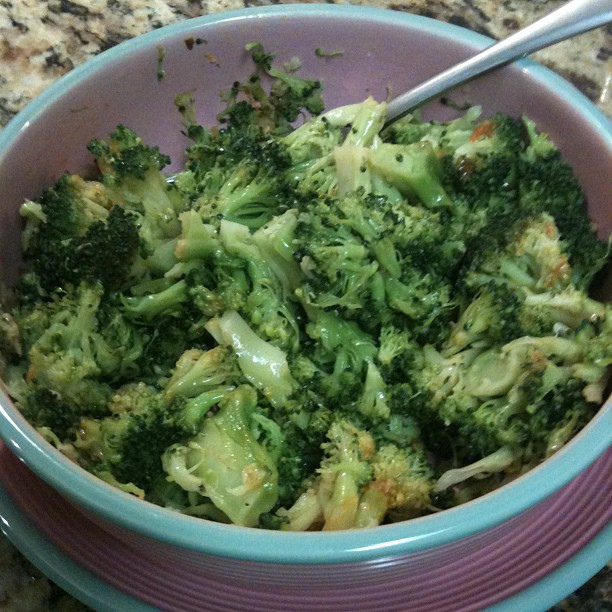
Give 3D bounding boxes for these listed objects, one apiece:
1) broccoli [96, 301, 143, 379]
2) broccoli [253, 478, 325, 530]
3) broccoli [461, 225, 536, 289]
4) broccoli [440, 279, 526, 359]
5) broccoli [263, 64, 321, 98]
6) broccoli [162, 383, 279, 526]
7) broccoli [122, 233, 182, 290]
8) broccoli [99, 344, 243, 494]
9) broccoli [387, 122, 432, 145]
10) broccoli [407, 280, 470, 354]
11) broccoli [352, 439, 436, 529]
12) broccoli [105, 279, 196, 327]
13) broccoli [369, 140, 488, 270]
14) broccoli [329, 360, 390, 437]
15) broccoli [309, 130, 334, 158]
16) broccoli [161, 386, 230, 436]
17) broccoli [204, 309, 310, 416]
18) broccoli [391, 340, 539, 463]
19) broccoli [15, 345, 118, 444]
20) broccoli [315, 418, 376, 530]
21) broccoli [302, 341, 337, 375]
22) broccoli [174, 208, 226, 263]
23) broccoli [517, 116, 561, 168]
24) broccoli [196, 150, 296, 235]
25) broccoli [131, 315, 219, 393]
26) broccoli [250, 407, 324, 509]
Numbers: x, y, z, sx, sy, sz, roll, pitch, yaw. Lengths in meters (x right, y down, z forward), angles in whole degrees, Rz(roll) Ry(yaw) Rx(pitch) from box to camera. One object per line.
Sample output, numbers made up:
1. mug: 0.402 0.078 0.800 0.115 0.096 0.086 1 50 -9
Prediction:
1. broccoli: -0.390 0.071 1.424 0.117 0.042 0.145 -11 86 -32
2. broccoli: -0.025 0.404 1.339 0.133 0.056 0.082 -29 53 -27
3. broccoli: 0.411 -0.097 1.473 0.114 0.047 0.157 -40 66 -1
4. broccoli: 0.368 0.022 1.444 0.191 0.099 0.149 -35 93 8
5. broccoli: -0.027 -0.545 1.669 0.160 0.020 0.051 19 71 -4
6. broccoli: -0.147 0.301 1.304 0.247 0.085 0.215 -39 72 -18
7. broccoli: -0.314 -0.090 1.419 0.144 0.040 0.097 -3 93 -17
8. broccoli: -0.289 0.234 1.389 0.327 0.140 0.211 -38 98 -32
9. broccoli: 0.245 -0.413 1.638 0.099 0.053 0.035 -7 31 -1
10. broccoli: 0.291 0.035 1.475 0.182 0.065 0.146 -13 47 14
11. broccoli: 0.160 0.342 1.283 0.149 0.107 0.113 -41 110 -41
12. broccoli: -0.316 -0.007 1.448 0.171 0.061 0.091 -23 97 6
13. broccoli: 0.215 -0.198 1.567 0.251 0.115 0.302 -34 95 -38
14. broccoli: 0.120 0.196 1.412 0.125 0.070 0.114 0 87 -6
15. broccoli: 0.036 -0.384 1.614 0.080 0.021 0.064 -14 65 -14
16. broccoli: -0.222 0.203 1.358 0.133 0.072 0.039 -4 94 -5
17. broccoli: -0.092 0.123 1.451 0.117 0.064 0.272 -45 77 0
18. broccoli: 0.332 0.149 1.432 0.351 0.090 0.256 2 65 -26
19. broccoli: -0.481 0.175 1.334 0.203 0.079 0.184 33 70 -9
20. broccoli: 0.071 0.336 1.291 0.132 0.071 0.264 1 30 8
21. broccoli: 0.031 0.109 1.431 0.083 0.017 0.058 10 102 8
22. broccoli: -0.244 -0.168 1.417 0.037 0.117 0.095 24 104 -37
23. broccoli: 0.508 -0.359 1.489 0.046 0.088 0.099 -9 85 -30
24. broccoli: -0.123 -0.248 1.612 0.254 0.106 0.174 -27 75 -14
25. broccoli: -0.304 0.107 1.497 0.186 0.057 0.155 11 68 -9
26. broccoli: -0.029 0.290 1.299 0.179 0.074 0.168 12 76 -13
